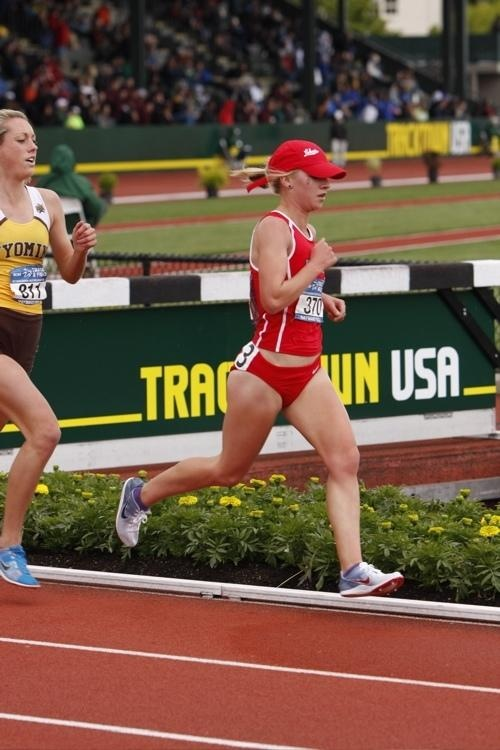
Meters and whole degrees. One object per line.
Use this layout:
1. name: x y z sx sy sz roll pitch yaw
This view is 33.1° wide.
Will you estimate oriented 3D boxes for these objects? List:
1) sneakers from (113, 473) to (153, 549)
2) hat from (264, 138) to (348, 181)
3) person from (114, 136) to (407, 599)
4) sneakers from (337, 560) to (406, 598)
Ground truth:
1. sneakers: -0.498 0.570 3.493 0.152 0.315 0.115 7 12 24
2. hat: 0.191 -0.756 3.000 0.250 0.109 0.149 -1 9 12
3. person: 0.078 -0.029 3.113 0.476 1.677 1.003 -3 3 -43
4. sneakers: 0.393 0.697 2.881 0.274 0.119 0.094 -12 -21 22
